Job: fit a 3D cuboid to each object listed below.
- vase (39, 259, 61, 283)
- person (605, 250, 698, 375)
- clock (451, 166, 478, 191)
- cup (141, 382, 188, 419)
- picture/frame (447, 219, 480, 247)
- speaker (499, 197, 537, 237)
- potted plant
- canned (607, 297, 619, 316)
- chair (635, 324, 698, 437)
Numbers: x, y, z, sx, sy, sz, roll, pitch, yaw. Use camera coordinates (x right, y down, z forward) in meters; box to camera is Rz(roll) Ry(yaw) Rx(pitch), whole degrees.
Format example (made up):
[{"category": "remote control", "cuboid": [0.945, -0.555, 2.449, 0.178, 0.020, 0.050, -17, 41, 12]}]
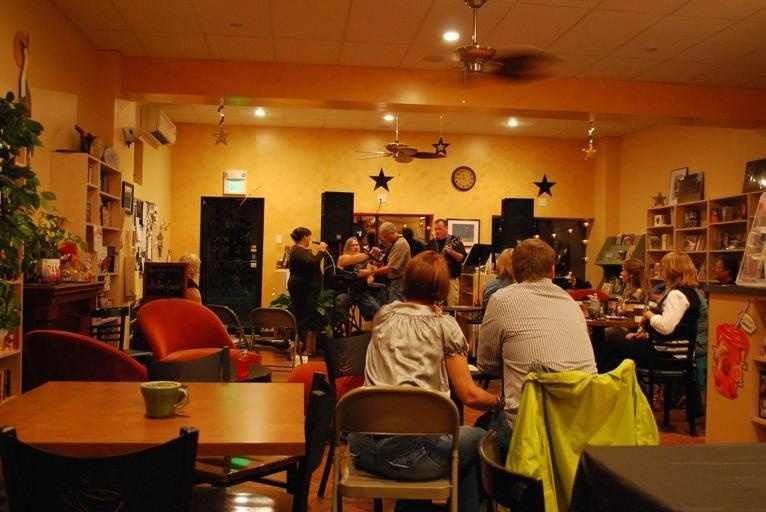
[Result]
[{"category": "vase", "cuboid": [-3.008, 0.140, 5.534, 0.067, 0.191, 0.203, -6, -7, 23]}, {"category": "person", "cuboid": [2.657, 0.704, 6.180, 0.914, 1.505, 0.722, 8, 8, 33]}, {"category": "clock", "cuboid": [1.497, -1.450, 11.411, 0.420, 0.415, 0.045, -9, 0, -14]}, {"category": "cup", "cuboid": [-1.046, 0.696, 2.959, 0.204, 0.121, 0.161, 5, -10, -27]}, {"category": "picture/frame", "cuboid": [1.384, -0.404, 10.716, 0.594, 0.486, 0.042, 1, -7, -9]}, {"category": "speaker", "cuboid": [2.048, -0.569, 9.510, 0.568, 1.053, 0.568, -1, -2, 9]}, {"category": "potted plant", "cuboid": [-0.965, 0.952, 8.839, 1.053, 0.602, 1.079, -6, -12, 41]}, {"category": "canned", "cuboid": [2.511, 0.559, 6.700, 0.143, 0.265, 0.146, 0, -1, 18]}, {"category": "chair", "cuboid": [2.704, 1.134, 5.827, 0.568, 0.767, 0.917, 4, 2, 27]}]
